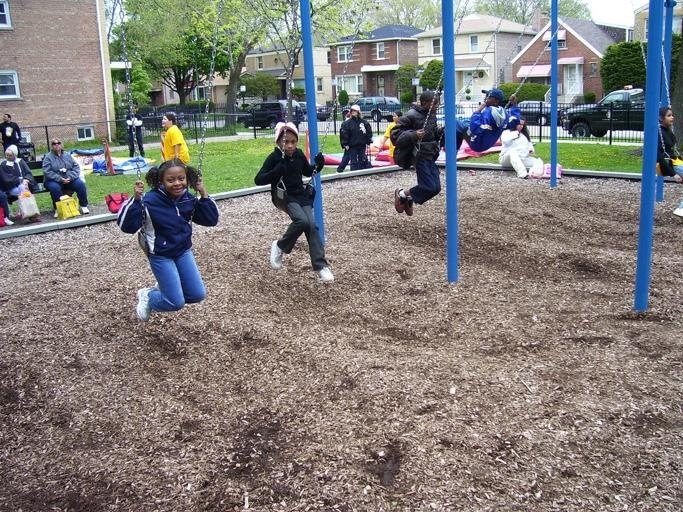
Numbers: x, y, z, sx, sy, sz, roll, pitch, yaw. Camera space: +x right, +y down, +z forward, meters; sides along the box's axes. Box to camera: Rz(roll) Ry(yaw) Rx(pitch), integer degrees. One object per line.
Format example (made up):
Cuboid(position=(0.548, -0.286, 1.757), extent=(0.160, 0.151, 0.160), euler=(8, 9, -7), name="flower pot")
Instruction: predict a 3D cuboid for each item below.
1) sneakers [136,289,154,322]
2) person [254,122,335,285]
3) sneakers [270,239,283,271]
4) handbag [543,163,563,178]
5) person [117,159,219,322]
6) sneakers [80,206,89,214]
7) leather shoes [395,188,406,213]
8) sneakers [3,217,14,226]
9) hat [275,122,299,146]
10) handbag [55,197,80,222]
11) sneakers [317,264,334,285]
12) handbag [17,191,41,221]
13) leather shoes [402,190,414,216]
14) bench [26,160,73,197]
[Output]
Cuboid(position=(-1.878, 0.467, 5.899), extent=(0.165, 0.364, 0.139), euler=(-4, -1, 19), name="sneakers")
Cuboid(position=(-0.509, -0.580, 6.677), extent=(0.758, 1.747, 0.410), euler=(-3, 15, -1), name="person")
Cuboid(position=(-0.725, -0.008, 7.049), extent=(0.158, 0.351, 0.135), euler=(0, 7, 24), name="sneakers")
Cuboid(position=(4.299, -1.701, 12.460), extent=(0.352, 0.263, 1.161), euler=(3, 16, 19), name="handbag")
Cuboid(position=(-1.498, -0.101, 5.510), extent=(0.835, 1.540, 0.630), euler=(-6, 15, -12), name="person")
Cuboid(position=(-4.500, -0.820, 10.804), extent=(0.151, 0.135, 0.285), euler=(-9, 16, -22), name="sneakers")
Cuboid(position=(0.812, -0.770, 8.474), extent=(0.144, 0.328, 0.126), euler=(-1, 13, 44), name="leather shoes")
Cuboid(position=(-5.535, -0.584, 10.237), extent=(0.099, 0.114, 0.292), euler=(-16, 26, -41), name="sneakers")
Cuboid(position=(-0.569, -1.309, 6.462), extent=(0.234, 0.225, 0.299), euler=(0, 14, 1), name="hat")
Cuboid(position=(-4.667, -0.849, 10.621), extent=(0.411, 0.529, 0.434), euler=(-5, 12, -18), name="handbag")
Cuboid(position=(-0.161, 0.224, 6.873), extent=(0.122, 0.146, 0.243), euler=(-6, 5, -25), name="sneakers")
Cuboid(position=(-5.252, -0.842, 10.327), extent=(0.278, 0.501, 0.233), euler=(-10, 17, -26), name="handbag")
Cuboid(position=(0.928, -0.727, 8.454), extent=(0.135, 0.354, 0.154), euler=(-23, 20, -27), name="leather shoes")
Cuboid(position=(-5.209, -1.409, 11.035), extent=(0.871, 0.532, 0.359), euler=(-11, 27, -40), name="bench")
